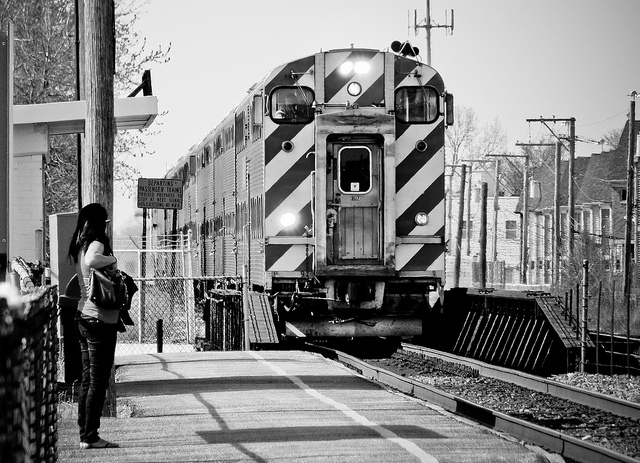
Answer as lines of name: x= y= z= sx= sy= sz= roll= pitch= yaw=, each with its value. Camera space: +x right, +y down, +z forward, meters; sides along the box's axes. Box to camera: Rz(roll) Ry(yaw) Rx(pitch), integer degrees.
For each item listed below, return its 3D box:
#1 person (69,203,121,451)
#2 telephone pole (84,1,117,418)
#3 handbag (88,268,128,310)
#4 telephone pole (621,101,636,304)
person: x=-2.364 y=0.979 z=9.527 sx=0.601 sy=2.529 sz=0.346 roll=0 pitch=-3 yaw=37
telephone pole: x=-2.518 y=-0.220 z=10.316 sx=0.392 sy=5.158 sz=0.894 roll=1 pitch=1 yaw=-12
handbag: x=-2.216 y=0.604 z=9.470 sx=0.415 sy=0.421 sz=0.280 roll=3 pitch=-3 yaw=-17
telephone pole: x=13.155 y=-0.872 z=38.453 sx=0.485 sy=8.061 sz=0.829 roll=1 pitch=5 yaw=12
